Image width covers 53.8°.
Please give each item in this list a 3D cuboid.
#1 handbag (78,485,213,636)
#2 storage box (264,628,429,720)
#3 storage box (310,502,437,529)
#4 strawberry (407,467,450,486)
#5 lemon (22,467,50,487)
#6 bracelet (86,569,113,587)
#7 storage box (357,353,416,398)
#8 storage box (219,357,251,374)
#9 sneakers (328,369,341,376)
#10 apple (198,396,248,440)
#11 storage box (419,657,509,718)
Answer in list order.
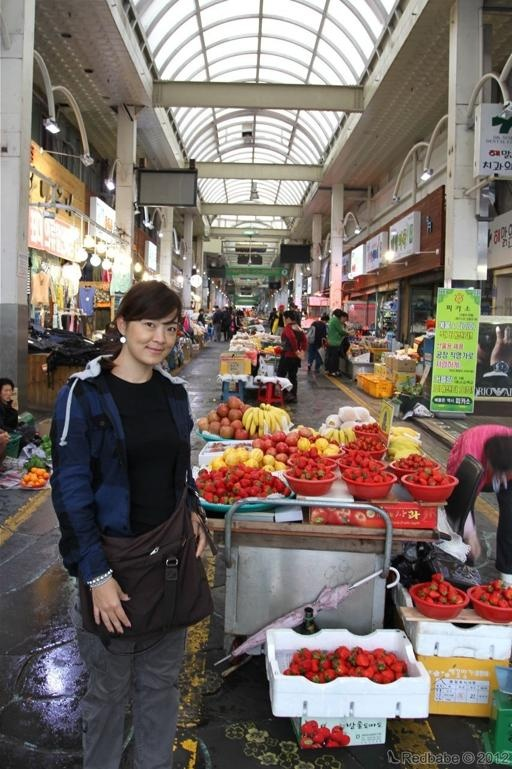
[{"bbox_3d":[-0.259,0.460,1.257,0.338,0.298,0.139,-4,7,-42],"label":"handbag"},{"bbox_3d":[0.314,1.138,1.878,0.548,0.329,0.346,1,5,-2],"label":"storage box"},{"bbox_3d":[0.492,0.549,2.099,0.531,0.124,0.078,1,5,-2],"label":"storage box"},{"bbox_3d":[0.725,0.395,2.170,0.141,0.046,0.176,1,5,-6],"label":"strawberry"},{"bbox_3d":[-2.225,0.936,5.099,0.257,0.169,0.329,0,5,-16],"label":"lemon"},{"bbox_3d":[-0.353,0.432,1.122,0.037,0.016,0.044,-25,1,7],"label":"bracelet"},{"bbox_3d":[2.893,-0.212,11.094,1.051,0.920,1.653,1,5,4],"label":"storage box"},{"bbox_3d":[-0.393,-0.372,9.454,0.530,0.343,0.420,0,5,-7],"label":"storage box"},{"bbox_3d":[2.217,-0.342,14.477,0.147,0.175,0.391,1,-2,-12],"label":"sneakers"},{"bbox_3d":[-0.237,0.272,3.929,0.324,0.145,0.311,4,8,-27],"label":"apple"},{"bbox_3d":[0.804,1.178,1.977,0.286,0.202,0.294,0,-4,4],"label":"storage box"}]
